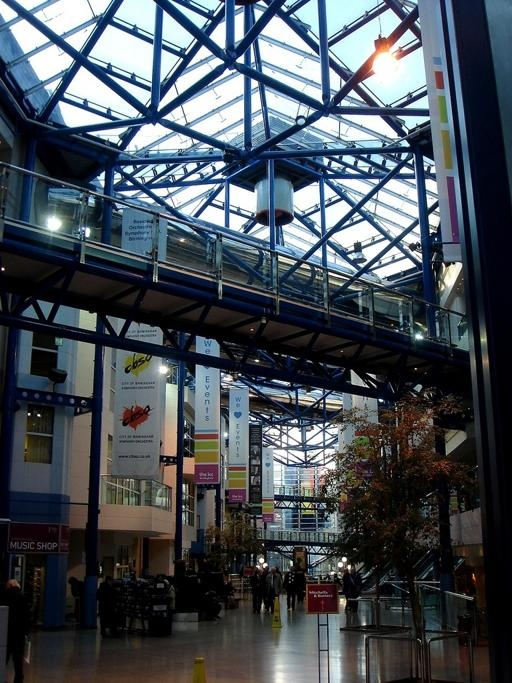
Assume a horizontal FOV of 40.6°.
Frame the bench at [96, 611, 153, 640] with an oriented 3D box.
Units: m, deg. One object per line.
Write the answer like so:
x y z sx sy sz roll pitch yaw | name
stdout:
-4.054 8.427 20.987 1.369 0.868 2.391 3 -17 -14 | bench
